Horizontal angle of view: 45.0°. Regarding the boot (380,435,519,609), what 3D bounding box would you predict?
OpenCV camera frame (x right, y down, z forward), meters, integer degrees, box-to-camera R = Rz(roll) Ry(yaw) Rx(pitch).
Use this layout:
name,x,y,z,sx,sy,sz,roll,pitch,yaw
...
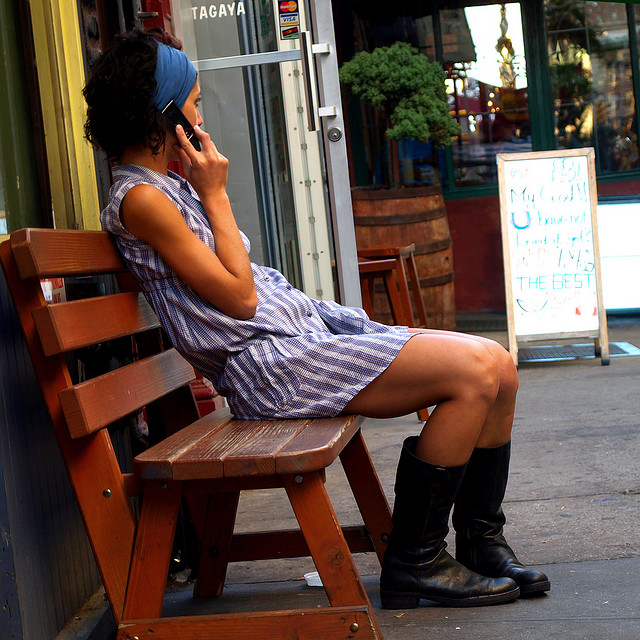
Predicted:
name,x,y,z,sx,sy,sz,roll,pitch,yaw
boot,0.265,0.454,1.684,0.303,0.336,0.143,-5,1,10

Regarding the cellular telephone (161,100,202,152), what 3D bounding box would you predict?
name,x,y,z,sx,sy,sz,roll,pitch,yaw
cellular telephone,-0.288,-0.419,1.642,0.069,0.091,0.074,3,14,8

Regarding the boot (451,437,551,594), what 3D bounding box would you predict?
name,x,y,z,sx,sy,sz,roll,pitch,yaw
boot,0.418,0.444,1.788,0.227,0.323,0.135,3,0,34

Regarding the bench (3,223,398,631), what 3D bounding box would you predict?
name,x,y,z,sx,sy,sz,roll,pitch,yaw
bench,-0.290,0.224,1.812,0.880,0.852,0.992,-5,1,5

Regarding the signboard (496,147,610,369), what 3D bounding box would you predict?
name,x,y,z,sx,sy,sz,roll,pitch,yaw
signboard,1.637,-0.546,5.350,0.883,1.741,0.653,0,12,18

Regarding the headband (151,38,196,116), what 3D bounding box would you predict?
name,x,y,z,sx,sy,sz,roll,pitch,yaw
headband,-0.309,-0.513,1.633,0.048,0.156,0.130,-5,2,35
